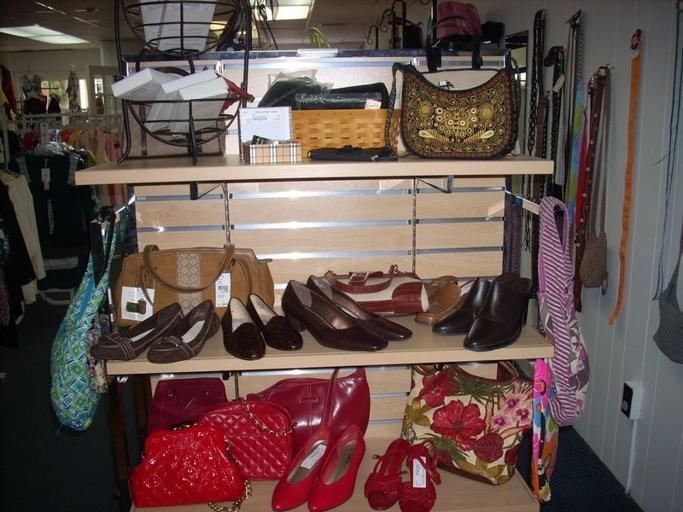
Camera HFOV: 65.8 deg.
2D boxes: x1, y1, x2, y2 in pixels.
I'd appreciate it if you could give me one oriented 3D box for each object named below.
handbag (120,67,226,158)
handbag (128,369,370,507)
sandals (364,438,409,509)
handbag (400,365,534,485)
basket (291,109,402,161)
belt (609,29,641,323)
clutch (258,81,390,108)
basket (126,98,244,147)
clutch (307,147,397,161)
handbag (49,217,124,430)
[{"bbox_3d":[-0.591,-0.494,1.823,0.351,0.287,0.392,-8,16,-22],"label":"handbag"},{"bbox_3d":[-0.308,0.701,2.111,0.779,0.481,0.293,-5,1,-4],"label":"handbag"},{"bbox_3d":[0.188,0.867,2.108,0.108,0.069,0.250,5,25,21],"label":"sandals"},{"bbox_3d":[0.498,0.696,2.131,0.442,0.441,0.182,15,9,10],"label":"handbag"},{"bbox_3d":[0.009,-0.417,1.943,0.285,0.111,0.201,-1,7,2],"label":"basket"},{"bbox_3d":[1.377,-0.326,2.549,0.080,1.447,0.326,5,16,27],"label":"belt"},{"bbox_3d":[-0.066,-0.601,1.984,0.295,0.094,0.179,1,23,-2],"label":"clutch"},{"bbox_3d":[-0.549,-0.457,1.788,0.268,0.112,0.274,-7,16,-15],"label":"basket"},{"bbox_3d":[0.041,-0.353,1.844,0.186,0.035,0.128,0,15,-1],"label":"clutch"},{"bbox_3d":[-1.002,0.273,2.001,0.236,0.802,0.186,9,2,-31],"label":"handbag"}]
